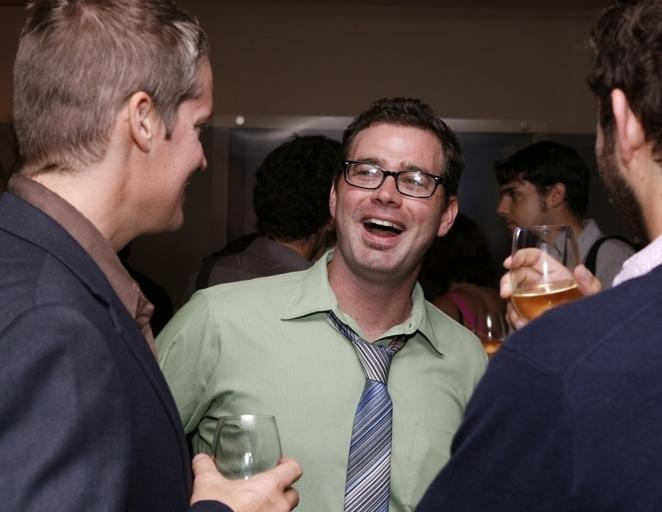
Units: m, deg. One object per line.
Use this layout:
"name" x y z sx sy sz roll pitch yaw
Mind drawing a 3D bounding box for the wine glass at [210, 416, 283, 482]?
"wine glass" -0.172 0.357 1.149 0.114 0.120 0.117 0 -6 -5
